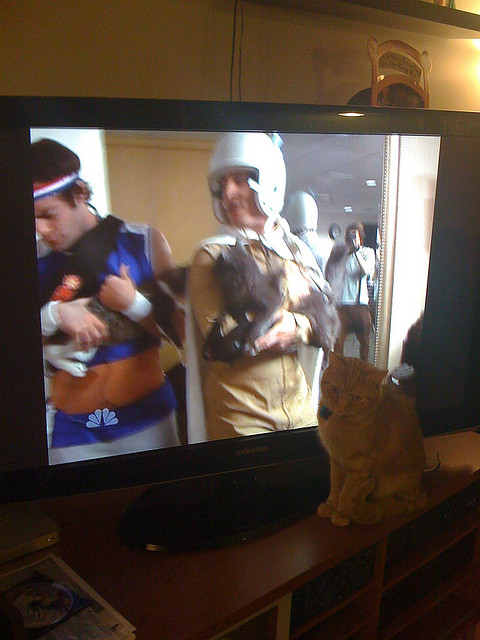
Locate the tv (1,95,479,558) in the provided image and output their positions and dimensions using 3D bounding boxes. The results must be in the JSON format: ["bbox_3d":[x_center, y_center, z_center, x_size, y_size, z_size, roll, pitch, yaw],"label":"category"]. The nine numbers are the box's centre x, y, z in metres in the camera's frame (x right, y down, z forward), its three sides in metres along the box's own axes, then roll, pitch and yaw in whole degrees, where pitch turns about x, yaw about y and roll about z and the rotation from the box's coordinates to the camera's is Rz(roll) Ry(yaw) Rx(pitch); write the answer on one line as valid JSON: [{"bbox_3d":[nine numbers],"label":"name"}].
[{"bbox_3d":[-0.021,0.010,1.008,0.902,0.681,0.268,-3,9,-22],"label":"tv"}]

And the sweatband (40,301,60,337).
[{"bbox_3d":[-0.323,0.001,0.901,0.037,0.047,0.050,-2,0,-5],"label":"sweatband"}]

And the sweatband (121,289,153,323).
[{"bbox_3d":[-0.177,-0.017,0.966,0.052,0.042,0.049,-29,37,38],"label":"sweatband"}]

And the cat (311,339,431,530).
[{"bbox_3d":[0.279,0.243,1.161,0.253,0.370,0.168,-5,16,-25],"label":"cat"}]
